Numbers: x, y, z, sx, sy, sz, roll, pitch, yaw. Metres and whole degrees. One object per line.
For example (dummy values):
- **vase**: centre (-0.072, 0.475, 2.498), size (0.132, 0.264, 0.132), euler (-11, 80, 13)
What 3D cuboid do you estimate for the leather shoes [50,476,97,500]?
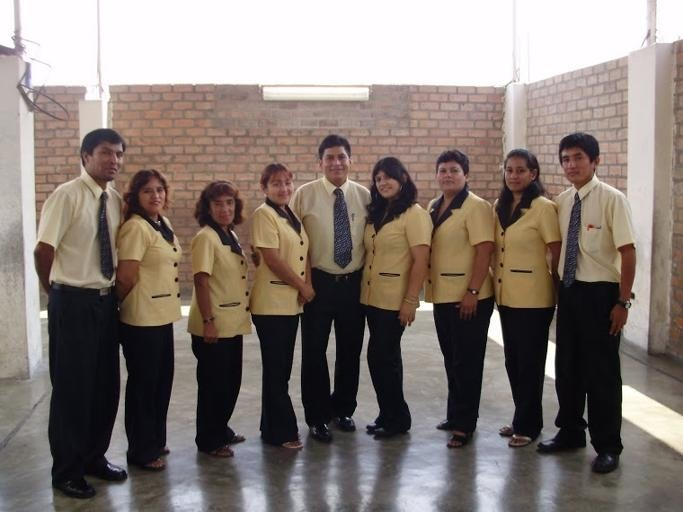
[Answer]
- **leather shoes**: centre (-1.603, 1.379, 3.953), size (0.222, 0.099, 0.113), euler (1, -4, 13)

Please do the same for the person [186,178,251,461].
- **person**: centre (-0.814, 0.404, 4.476), size (0.408, 1.784, 0.449), euler (4, 10, 23)

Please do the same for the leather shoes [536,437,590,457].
- **leather shoes**: centre (1.462, 1.276, 4.433), size (0.347, 0.156, 0.120), euler (3, -10, -11)

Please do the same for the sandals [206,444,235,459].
- **sandals**: centre (-0.794, 1.305, 4.405), size (0.190, 0.087, 0.067), euler (-3, -8, 10)

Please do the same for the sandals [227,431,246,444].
- **sandals**: centre (-0.732, 1.261, 4.649), size (0.145, 0.107, 0.048), euler (-6, 7, -42)

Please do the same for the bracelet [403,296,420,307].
- **bracelet**: centre (0.479, 0.324, 4.544), size (0.084, 0.043, 0.063), euler (25, -3, -23)

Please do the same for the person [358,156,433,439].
- **person**: centre (0.378, 0.288, 4.654), size (0.485, 1.930, 0.399), euler (1, 9, 6)

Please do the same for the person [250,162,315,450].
- **person**: centre (-0.405, 0.331, 4.535), size (0.424, 1.888, 0.393), euler (3, 10, 17)

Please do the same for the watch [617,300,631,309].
- **watch**: centre (1.785, 0.305, 4.197), size (0.071, 0.048, 0.077), euler (3, -1, -22)

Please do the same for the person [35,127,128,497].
- **person**: centre (-1.521, 0.330, 3.992), size (0.540, 2.136, 0.436), euler (-6, 11, -31)

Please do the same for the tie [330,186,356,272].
- **tie**: centre (-0.025, -0.195, 4.614), size (0.165, 0.060, 0.739), euler (4, -40, 10)

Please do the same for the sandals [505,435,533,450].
- **sandals**: centre (1.207, 1.266, 4.492), size (0.149, 0.074, 0.047), euler (2, 19, -14)

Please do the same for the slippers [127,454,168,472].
- **slippers**: centre (-1.255, 1.335, 4.286), size (0.241, 0.104, 0.094), euler (0, -7, 6)

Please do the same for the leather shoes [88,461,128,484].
- **leather shoes**: centre (-1.458, 1.343, 4.123), size (0.282, 0.118, 0.108), euler (4, 6, 8)

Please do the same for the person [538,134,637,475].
- **person**: centre (1.577, 0.428, 4.284), size (0.519, 1.783, 0.464), euler (6, 11, 32)

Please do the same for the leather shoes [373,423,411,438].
- **leather shoes**: centre (0.356, 1.244, 4.732), size (0.249, 0.111, 0.092), euler (6, -7, -15)

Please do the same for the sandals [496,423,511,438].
- **sandals**: centre (1.147, 1.246, 4.722), size (0.036, 0.069, 0.102), euler (0, -4, -16)

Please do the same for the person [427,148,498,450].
- **person**: centre (0.781, 0.280, 4.575), size (0.460, 1.975, 0.484), euler (4, 11, 27)

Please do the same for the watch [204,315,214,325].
- **watch**: centre (-0.854, 0.413, 4.297), size (0.070, 0.046, 0.026), euler (-7, 12, -33)

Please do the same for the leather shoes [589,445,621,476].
- **leather shoes**: centre (1.690, 1.299, 4.223), size (0.280, 0.094, 0.117), euler (-10, 14, -41)

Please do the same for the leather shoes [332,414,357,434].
- **leather shoes**: centre (0.019, 1.222, 4.803), size (0.072, 0.091, 0.203), euler (3, -1, -33)
